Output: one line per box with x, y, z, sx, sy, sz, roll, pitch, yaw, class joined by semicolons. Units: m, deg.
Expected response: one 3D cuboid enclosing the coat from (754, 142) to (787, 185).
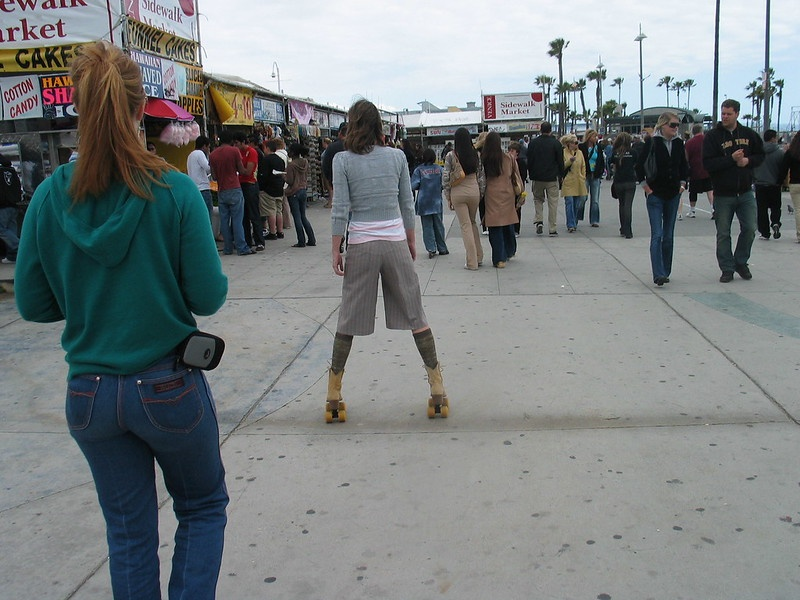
7.112;-2.547;11.205;0.451;0.824;0.826;-7;12;15;coat

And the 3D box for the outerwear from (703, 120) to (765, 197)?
4.302;-1.825;7.747;0.715;0.917;0.501;0;13;14;outerwear

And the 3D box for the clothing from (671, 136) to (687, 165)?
3.640;-1.985;7.926;0.273;0.344;0.133;5;-8;-18;clothing

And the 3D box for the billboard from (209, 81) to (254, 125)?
-3.673;-4.278;13.244;0.075;0.814;2.342;-16;26;-34;billboard

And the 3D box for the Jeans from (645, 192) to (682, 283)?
3.406;-0.812;7.842;0.342;1.157;0.576;4;15;29;Jeans

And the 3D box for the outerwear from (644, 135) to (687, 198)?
3.412;-1.709;7.741;0.569;0.767;0.414;-4;13;-2;outerwear

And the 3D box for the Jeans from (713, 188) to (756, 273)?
4.431;-0.884;7.958;0.466;1.120;0.585;9;18;43;Jeans
